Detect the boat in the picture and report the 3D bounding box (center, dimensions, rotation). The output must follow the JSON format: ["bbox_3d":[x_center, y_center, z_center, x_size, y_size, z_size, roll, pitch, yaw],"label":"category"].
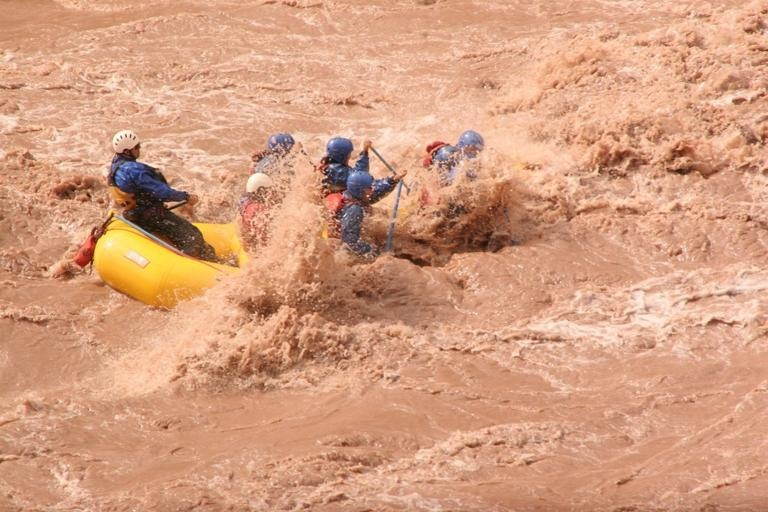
[{"bbox_3d":[-3.034,0.228,18.588,2.934,2.035,0.675,20,102,26],"label":"boat"}]
